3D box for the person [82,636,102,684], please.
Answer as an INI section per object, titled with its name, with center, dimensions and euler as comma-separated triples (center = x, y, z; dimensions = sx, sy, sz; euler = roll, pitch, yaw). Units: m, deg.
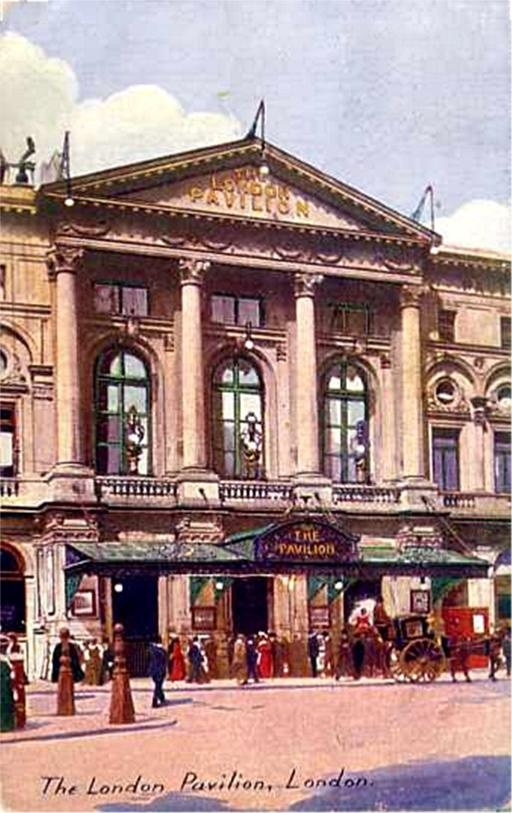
[person]
center = -3.664, 5.808, 45.630
dimensions = 0.403, 1.072, 1.308
euler = -1, -8, -5
